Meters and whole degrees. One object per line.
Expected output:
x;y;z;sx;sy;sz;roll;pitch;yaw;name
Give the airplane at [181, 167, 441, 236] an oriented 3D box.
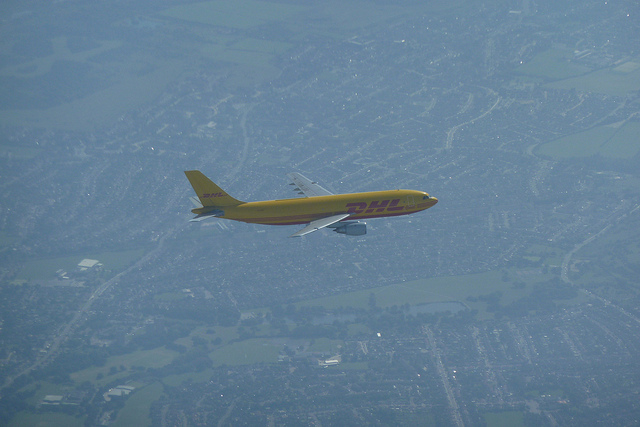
-1.368;-4.107;247.590;74.383;13.501;37.234;-3;19;-15;airplane
